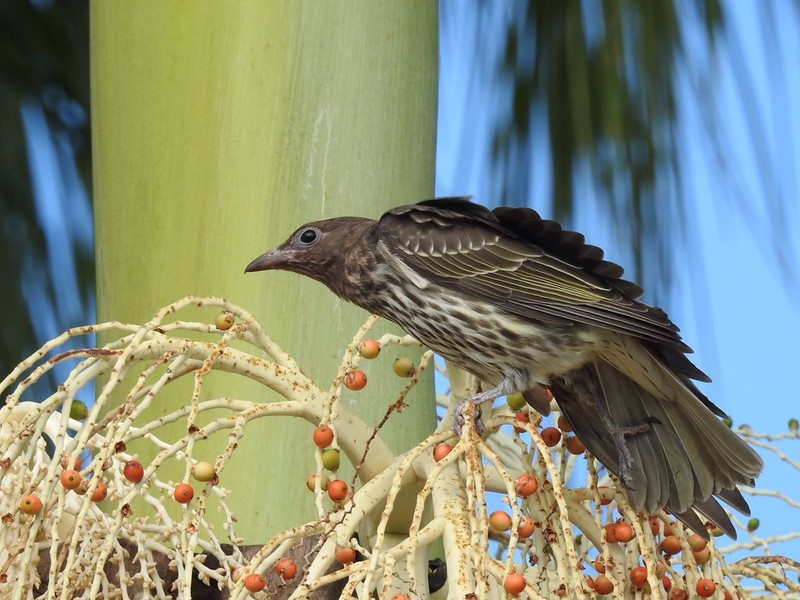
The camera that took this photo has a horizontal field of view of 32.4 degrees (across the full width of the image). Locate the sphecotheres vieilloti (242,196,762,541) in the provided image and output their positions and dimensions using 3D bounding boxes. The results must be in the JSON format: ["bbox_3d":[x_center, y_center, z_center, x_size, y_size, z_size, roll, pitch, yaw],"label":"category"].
[{"bbox_3d":[0.475,0.067,3.665,1.650,0.477,0.644,15,-67,22],"label":"sphecotheres vieilloti"}]
